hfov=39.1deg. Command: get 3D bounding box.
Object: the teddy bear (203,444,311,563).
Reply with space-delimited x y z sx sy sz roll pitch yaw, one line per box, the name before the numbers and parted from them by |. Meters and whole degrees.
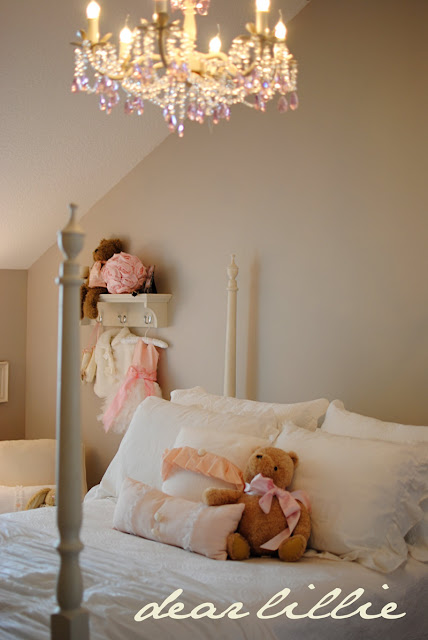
teddy bear | 0.168 0.527 1.779 0.425 0.369 0.252 -4 -21 16
